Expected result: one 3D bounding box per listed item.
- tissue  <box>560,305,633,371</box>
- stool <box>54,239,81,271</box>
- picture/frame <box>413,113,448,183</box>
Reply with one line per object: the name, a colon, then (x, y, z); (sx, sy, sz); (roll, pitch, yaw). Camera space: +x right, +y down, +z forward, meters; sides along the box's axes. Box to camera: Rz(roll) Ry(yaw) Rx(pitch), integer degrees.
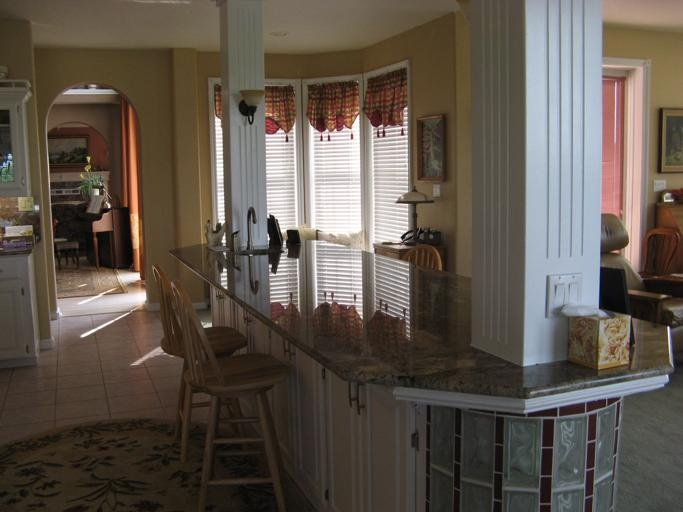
tissue : (0.891, 0.279, 1.991); (0.231, 0.202, 0.129); (2, 10, 18)
stool: (-4.964, -0.090, 10.290); (0.542, 0.665, 0.642); (-2, 5, -32)
picture/frame: (0.975, -1.168, 6.194); (0.105, 0.718, 0.518); (-5, 10, -21)
